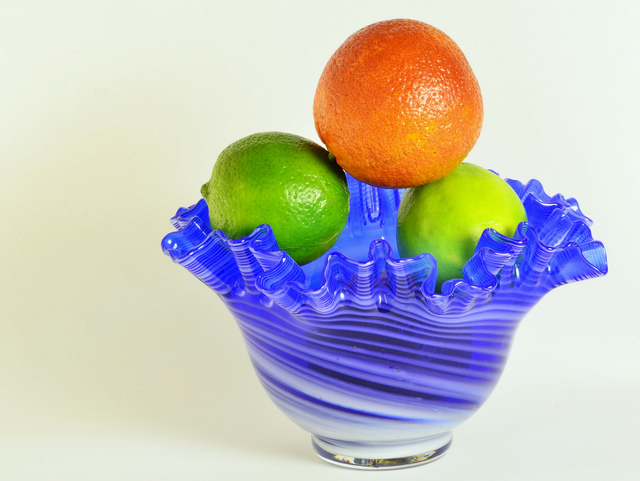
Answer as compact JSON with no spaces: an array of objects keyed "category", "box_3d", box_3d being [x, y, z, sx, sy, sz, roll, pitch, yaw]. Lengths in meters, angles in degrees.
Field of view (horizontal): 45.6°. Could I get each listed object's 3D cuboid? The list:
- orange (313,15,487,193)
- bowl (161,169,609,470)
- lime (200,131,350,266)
[{"category":"orange","box_3d":[0.110,-0.182,1.197,0.272,0.298,0.310,4,-85,-1]},{"category":"bowl","box_3d":[0.090,0.137,1.232,0.541,0.502,0.344,0,-84,2]},{"category":"lime","box_3d":[-0.057,-0.066,1.145,0.192,0.170,0.169,11,-99,4]}]
